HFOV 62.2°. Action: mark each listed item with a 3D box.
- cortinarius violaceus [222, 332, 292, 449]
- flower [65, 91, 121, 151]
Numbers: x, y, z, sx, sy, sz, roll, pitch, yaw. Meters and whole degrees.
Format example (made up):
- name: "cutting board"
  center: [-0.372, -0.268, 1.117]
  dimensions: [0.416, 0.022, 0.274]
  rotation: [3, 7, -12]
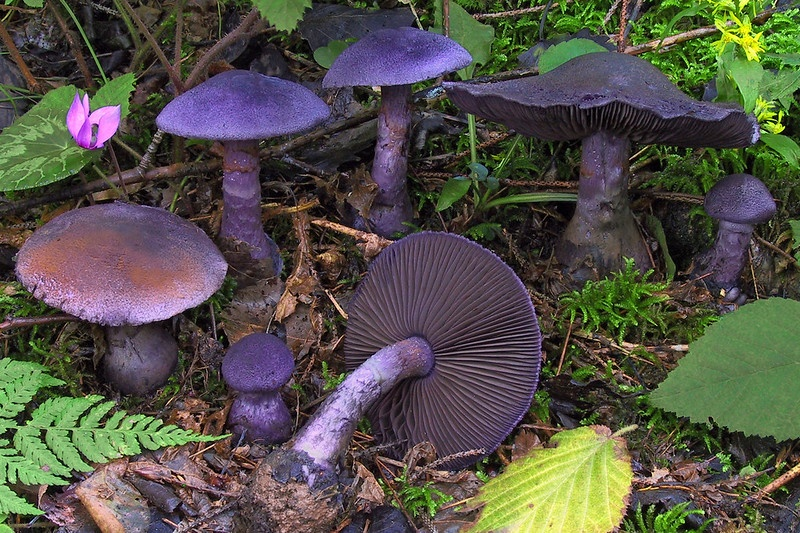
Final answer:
- name: "cortinarius violaceus"
  center: [-0.820, 0.753, 3.778]
  dimensions: [0.343, 0.691, 0.362]
  rotation: [13, 26, 5]
- name: "flower"
  center: [-1.637, -0.726, 3.611]
  dimensions: [0.327, 0.157, 0.310]
  rotation: [-9, 77, 6]
